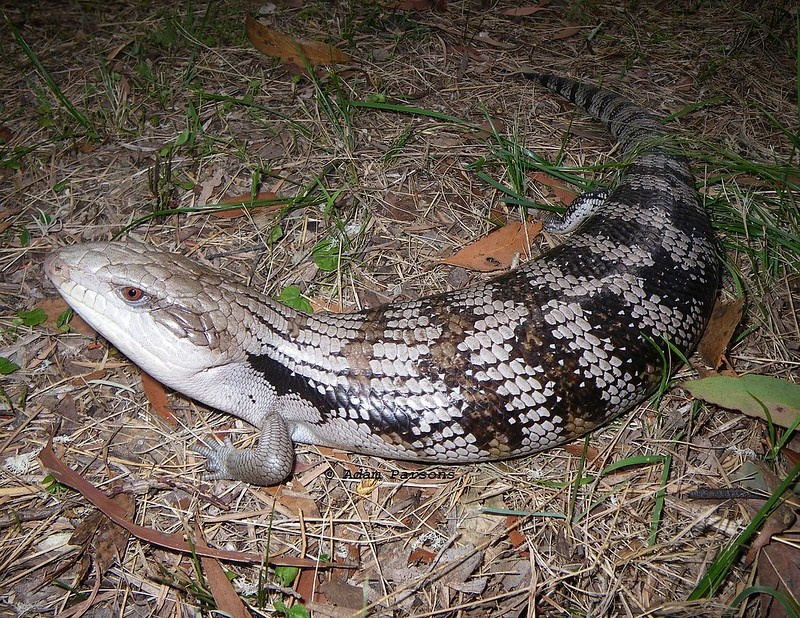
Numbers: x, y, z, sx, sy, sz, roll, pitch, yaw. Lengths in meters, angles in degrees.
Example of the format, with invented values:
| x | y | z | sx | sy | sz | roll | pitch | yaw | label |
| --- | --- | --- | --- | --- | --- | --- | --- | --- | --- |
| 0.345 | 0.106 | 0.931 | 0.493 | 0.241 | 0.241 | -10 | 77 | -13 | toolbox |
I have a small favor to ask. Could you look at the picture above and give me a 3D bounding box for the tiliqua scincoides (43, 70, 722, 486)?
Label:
| x | y | z | sx | sy | sz | roll | pitch | yaw | label |
| --- | --- | --- | --- | --- | --- | --- | --- | --- | --- |
| 0.222 | 0.112 | 4.340 | 3.759 | 0.988 | 1.742 | -15 | 61 | -13 | tiliqua scincoides |
